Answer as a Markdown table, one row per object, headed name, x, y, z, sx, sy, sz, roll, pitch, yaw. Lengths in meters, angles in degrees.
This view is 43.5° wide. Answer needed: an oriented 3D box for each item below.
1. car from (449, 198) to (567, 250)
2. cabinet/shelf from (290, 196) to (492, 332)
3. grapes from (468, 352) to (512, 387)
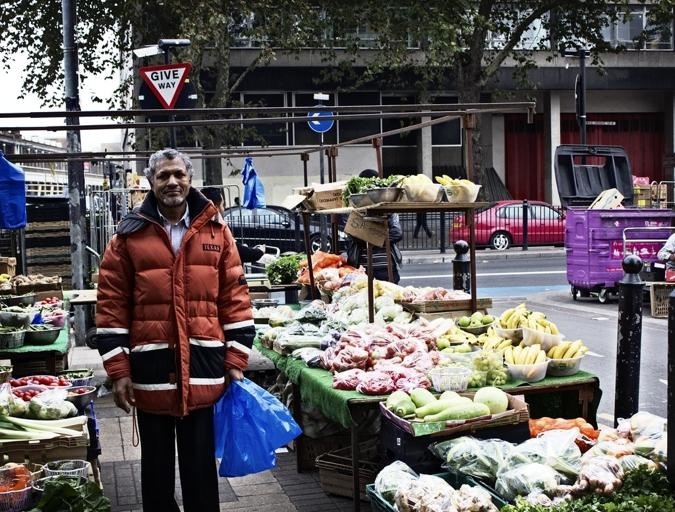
| name | x | y | z | sx | sy | sz | roll | pitch | yaw |
| --- | --- | --- | --- | --- | --- | --- | --- | --- | --- |
| car | 5.661 | -1.013 | 26.637 | 4.379 | 1.808 | 1.858 | 0 | 1 | -7 |
| cabinet/shelf | 0.621 | -0.054 | 8.828 | 1.201 | 1.193 | 2.000 | -3 | 13 | -22 |
| grapes | 1.290 | 0.948 | 7.055 | 0.342 | 0.291 | 0.223 | -3 | 0 | 4 |
